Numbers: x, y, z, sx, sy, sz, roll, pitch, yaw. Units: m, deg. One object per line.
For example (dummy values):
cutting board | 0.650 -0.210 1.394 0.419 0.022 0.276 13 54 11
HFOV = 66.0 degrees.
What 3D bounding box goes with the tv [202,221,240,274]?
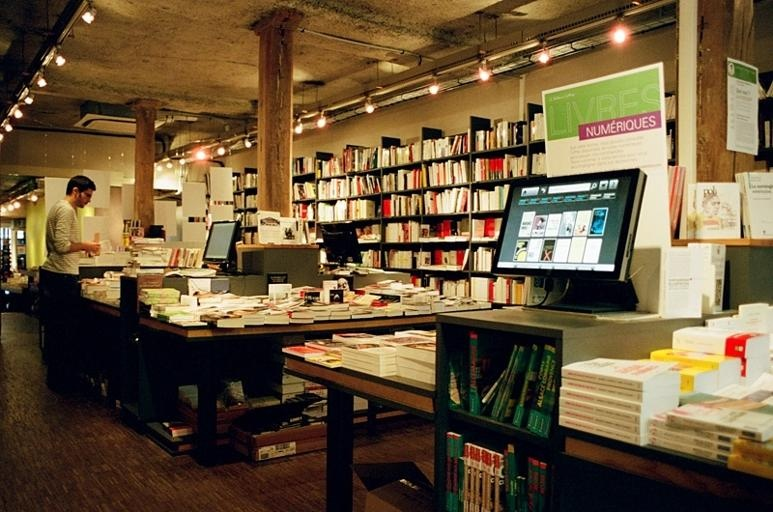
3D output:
tv | -1.595 -0.076 5.770 0.242 0.468 0.577 12 -9 -40
